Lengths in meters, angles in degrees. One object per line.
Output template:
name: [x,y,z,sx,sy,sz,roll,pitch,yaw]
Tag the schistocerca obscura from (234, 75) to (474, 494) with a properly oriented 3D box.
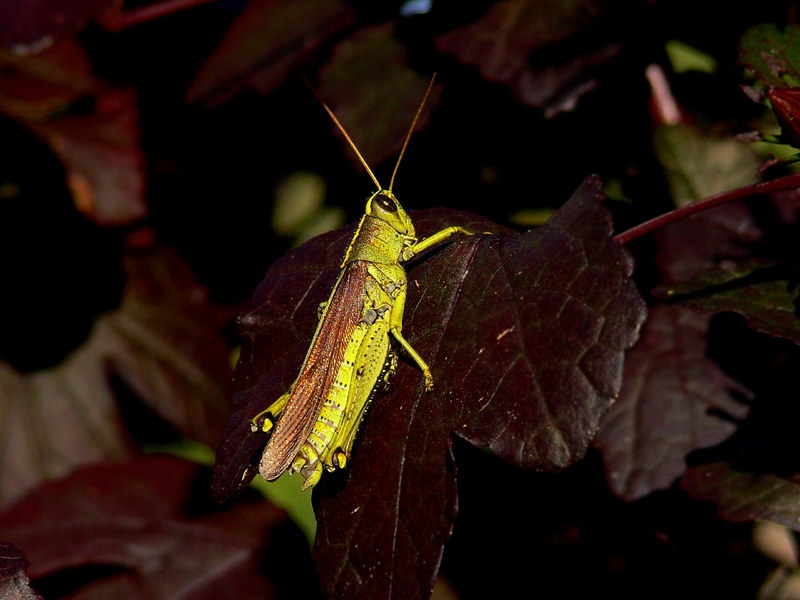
schistocerca obscura: [-0.034,0.005,1.045,0.144,0.185,0.382,-12,62,52]
